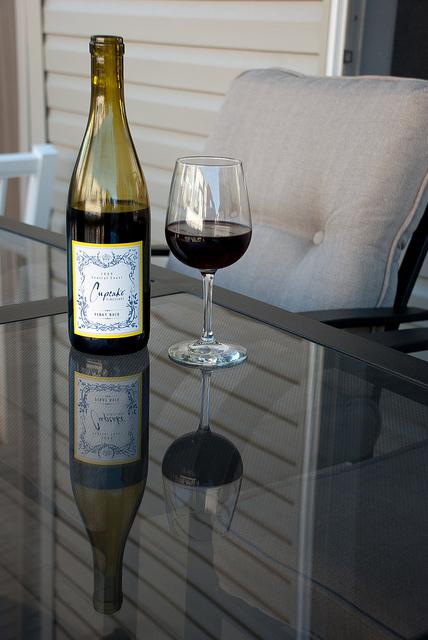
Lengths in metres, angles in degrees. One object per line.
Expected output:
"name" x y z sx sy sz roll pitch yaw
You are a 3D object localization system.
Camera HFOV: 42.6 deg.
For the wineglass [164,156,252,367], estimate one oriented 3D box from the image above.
"wineglass" -0.008 -0.075 0.608 0.092 0.208 0.174 2 13 -5
